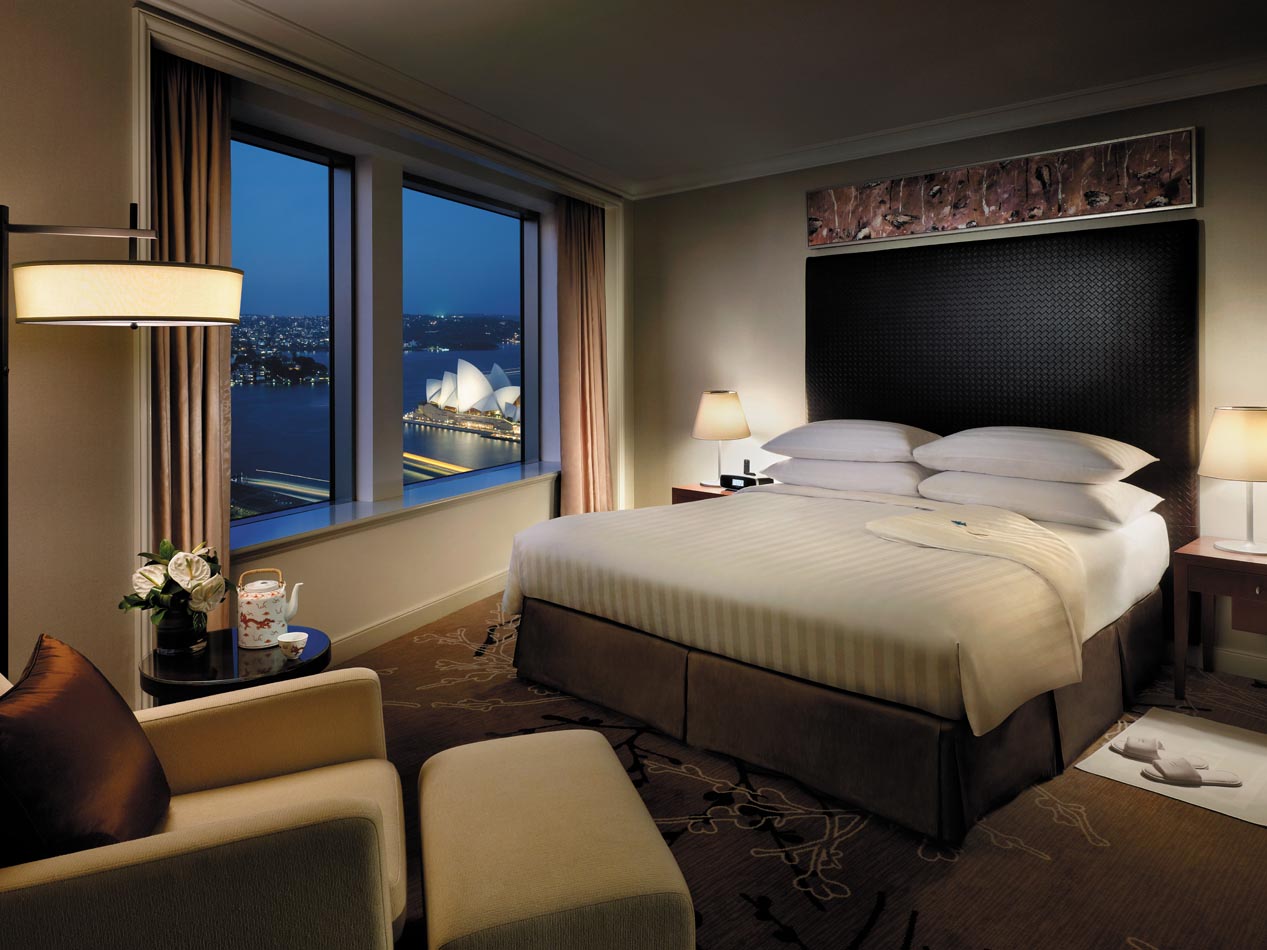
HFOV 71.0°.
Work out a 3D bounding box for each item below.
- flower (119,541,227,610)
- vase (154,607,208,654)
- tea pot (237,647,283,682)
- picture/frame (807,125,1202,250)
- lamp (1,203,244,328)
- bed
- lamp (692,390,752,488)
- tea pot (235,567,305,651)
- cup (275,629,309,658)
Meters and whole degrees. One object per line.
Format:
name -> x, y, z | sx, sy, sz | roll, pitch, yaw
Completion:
flower -> -1.593, 0.367, 2.993 | 0.340, 0.127, 0.319 | 10, 18, -6
vase -> -1.542, 0.521, 3.090 | 0.145, 0.167, 0.155 | 4, 6, 10
tea pot -> -1.262, 0.641, 2.991 | 0.096, 0.063, 0.098 | 2, 5, 0
picture/frame -> 1.969, -1.519, 5.008 | 2.020, 0.439, 0.212 | 1, -13, 34
lamp -> -1.533, -0.561, 2.719 | 0.523, 0.301, 0.388 | -3, 6, -38
bed -> 1.314, 0.569, 3.888 | 1.945, 0.929, 2.011 | 1, 3, 43
lamp -> 0.586, -0.222, 5.898 | 0.354, 0.708, 0.355 | 14, 25, 40
tea pot -> -1.294, 0.462, 3.180 | 0.239, 0.270, 0.146 | -1, 4, -29
cup -> -1.183, 0.588, 3.103 | 0.074, 0.049, 0.077 | -1, 3, 0
